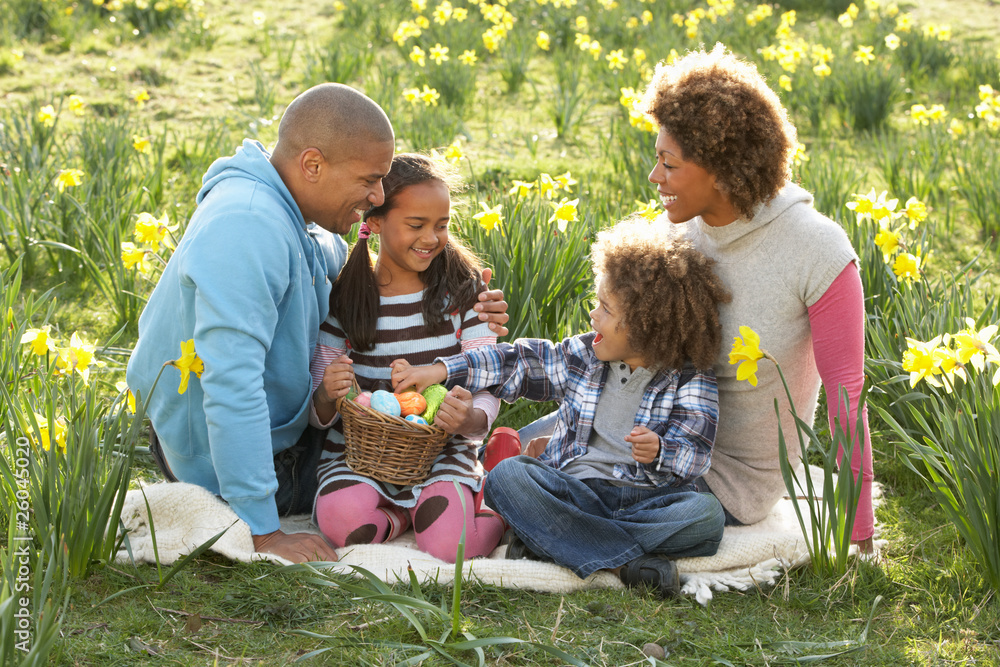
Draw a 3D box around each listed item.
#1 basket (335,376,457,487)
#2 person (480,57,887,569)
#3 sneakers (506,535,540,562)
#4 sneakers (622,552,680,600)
[{"bbox_3d":[-0.488,0.461,4.970,0.440,0.347,0.439,1,-7,11],"label":"basket"},{"bbox_3d":[1.099,-0.150,4.829,0.967,2.163,0.487,1,4,17],"label":"person"},{"bbox_3d":[0.104,0.922,4.877,0.110,0.100,0.090,26,1,16],"label":"sneakers"},{"bbox_3d":[0.623,1.010,4.690,0.259,0.160,0.105,0,4,7],"label":"sneakers"}]
